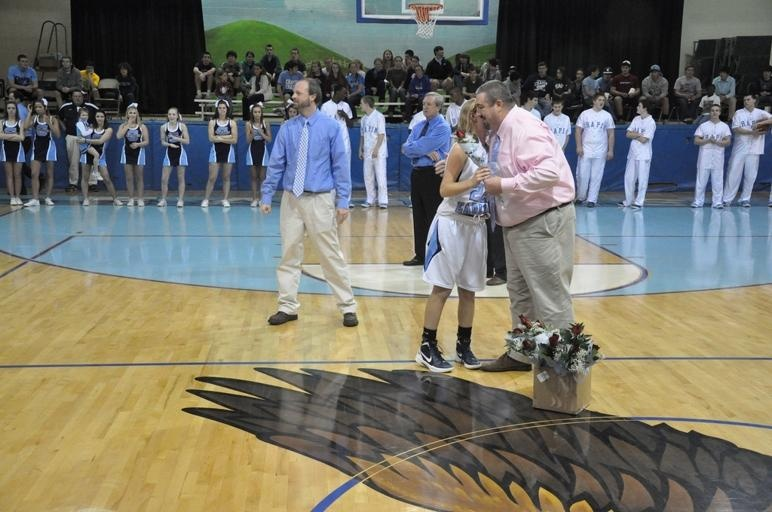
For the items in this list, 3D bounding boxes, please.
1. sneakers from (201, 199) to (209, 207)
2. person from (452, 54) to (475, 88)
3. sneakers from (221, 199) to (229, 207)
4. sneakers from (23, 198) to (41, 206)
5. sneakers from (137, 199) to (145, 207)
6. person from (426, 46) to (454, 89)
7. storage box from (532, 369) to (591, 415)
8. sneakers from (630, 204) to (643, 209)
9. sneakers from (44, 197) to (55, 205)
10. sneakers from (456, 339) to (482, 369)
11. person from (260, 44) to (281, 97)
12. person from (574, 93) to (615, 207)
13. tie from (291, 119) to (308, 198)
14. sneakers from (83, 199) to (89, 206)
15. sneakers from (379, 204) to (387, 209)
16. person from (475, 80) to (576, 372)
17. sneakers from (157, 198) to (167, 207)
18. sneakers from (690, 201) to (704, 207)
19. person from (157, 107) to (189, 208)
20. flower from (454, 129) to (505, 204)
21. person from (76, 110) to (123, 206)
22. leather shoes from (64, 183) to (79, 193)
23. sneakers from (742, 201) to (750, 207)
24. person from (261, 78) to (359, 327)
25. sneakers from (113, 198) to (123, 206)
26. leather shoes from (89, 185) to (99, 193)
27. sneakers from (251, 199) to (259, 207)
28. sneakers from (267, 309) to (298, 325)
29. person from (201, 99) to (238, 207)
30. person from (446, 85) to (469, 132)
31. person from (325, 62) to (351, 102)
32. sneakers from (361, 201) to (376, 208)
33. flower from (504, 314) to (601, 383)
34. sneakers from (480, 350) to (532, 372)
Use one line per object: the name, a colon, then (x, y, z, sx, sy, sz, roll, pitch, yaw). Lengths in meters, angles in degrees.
sneakers: (-3.927, -1.113, 13.505, 0.114, 0.128, 0.316, -1, 5, -4)
person: (2.173, -5.064, 17.323, 0.618, 0.993, 0.580, -17, 23, -42)
sneakers: (-3.474, -1.121, 13.596, 0.163, 0.144, 0.355, -3, 4, -22)
sneakers: (-7.417, -1.097, 13.178, 0.165, 0.148, 0.348, 2, -2, 10)
sneakers: (-5.310, -1.127, 13.527, 0.145, 0.157, 0.393, -3, 3, -17)
person: (1.481, -5.231, 17.384, 0.807, 1.051, 0.779, -2, 21, 3)
storage box: (1.307, 0.955, 4.626, 0.345, 0.339, 0.345, 0, -1, 29)
sneakers: (5.671, -1.126, 14.203, 0.223, 0.085, 0.329, 3, 13, 19)
sneakers: (-7.279, -1.161, 13.527, 0.148, 0.176, 0.437, -5, 8, -34)
sneakers: (0.678, 0.844, 5.286, 0.110, 0.163, 0.326, -1, 3, -12)
person: (-3.261, -5.236, 17.489, 0.665, 1.223, 0.775, 6, 12, 25)
person: (4.762, -2.414, 14.393, 0.792, 2.518, 0.680, 3, 13, 18)
tie: (-0.821, -0.933, 6.038, 0.129, 0.708, 0.228, 2, 13, 16)
sneakers: (-6.501, -1.144, 13.553, 0.133, 0.116, 0.295, -3, 6, -24)
sneakers: (-0.071, -1.083, 13.796, 0.110, 0.126, 0.324, 0, 1, 0)
person: (1.055, -0.315, 4.724, 0.748, 1.951, 0.641, 1, 13, 10)
sneakers: (-4.906, -1.143, 13.682, 0.156, 0.143, 0.337, -2, 2, -14)
sneakers: (7.072, -1.155, 14.240, 0.345, 0.148, 0.125, 0, 2, -30)
person: (-4.660, -2.120, 13.594, 0.753, 2.061, 1.392, -6, 13, -19)
flower: (0.722, -0.671, 4.937, 0.155, 0.473, 0.452, -17, -19, 37)
person: (-6.248, -2.115, 13.697, 0.982, 2.057, 0.629, 3, 5, -20)
leather shoes: (-7.879, -1.673, 15.723, 0.386, 0.261, 0.199, 6, 1, -31)
sneakers: (8.212, -1.160, 14.273, 0.077, 0.091, 0.215, -2, -1, 17)
person: (-0.770, -0.512, 6.150, 0.901, 2.380, 0.622, -2, 13, -4)
sneakers: (-5.857, -1.156, 13.697, 0.167, 0.149, 0.350, -3, 3, -29)
leather shoes: (-7.460, -1.708, 16.002, 0.247, 0.136, 0.169, -3, 1, -13)
sneakers: (-2.899, -1.143, 13.735, 0.147, 0.132, 0.341, 0, 3, -1)
sneakers: (-1.034, 0.627, 6.270, 0.298, 0.135, 0.109, 1, -1, -44)
person: (-3.630, -2.197, 13.557, 0.781, 2.276, 1.278, -5, 13, -16)
person: (1.240, -2.503, 11.030, 0.328, 0.722, 0.218, -4, 45, -4)
person: (-1.337, -4.651, 16.653, 0.633, 0.915, 0.608, -4, 10, 2)
sneakers: (-0.397, -1.148, 14.272, 0.136, 0.169, 0.377, 4, 2, 38)
flower: (1.220, 0.659, 4.545, 0.672, 0.391, 0.216, 2, 13, 13)
sneakers: (0.995, 0.915, 5.301, 0.482, 0.204, 0.165, 3, 1, 0)
